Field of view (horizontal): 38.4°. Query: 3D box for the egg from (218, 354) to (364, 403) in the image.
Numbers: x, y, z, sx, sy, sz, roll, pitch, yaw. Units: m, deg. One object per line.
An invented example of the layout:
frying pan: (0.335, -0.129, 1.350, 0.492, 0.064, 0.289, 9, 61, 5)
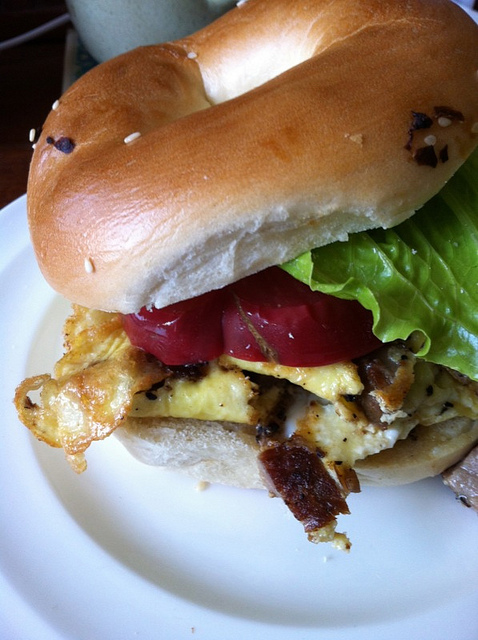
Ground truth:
egg: (0.111, 0.100, 1.509, 0.321, 0.159, 0.076, 13, 111, 1)

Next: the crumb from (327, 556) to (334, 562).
crumb: (0.202, 0.534, 1.522, 0.010, 0.009, 0.003, -4, 100, 5)

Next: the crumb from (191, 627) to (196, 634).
crumb: (-0.093, 0.631, 1.391, 0.009, 0.007, 0.008, -6, 78, 1)

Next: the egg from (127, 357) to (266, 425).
egg: (-0.092, 0.171, 1.553, 0.232, 0.191, 0.057, 0, 94, -2)
